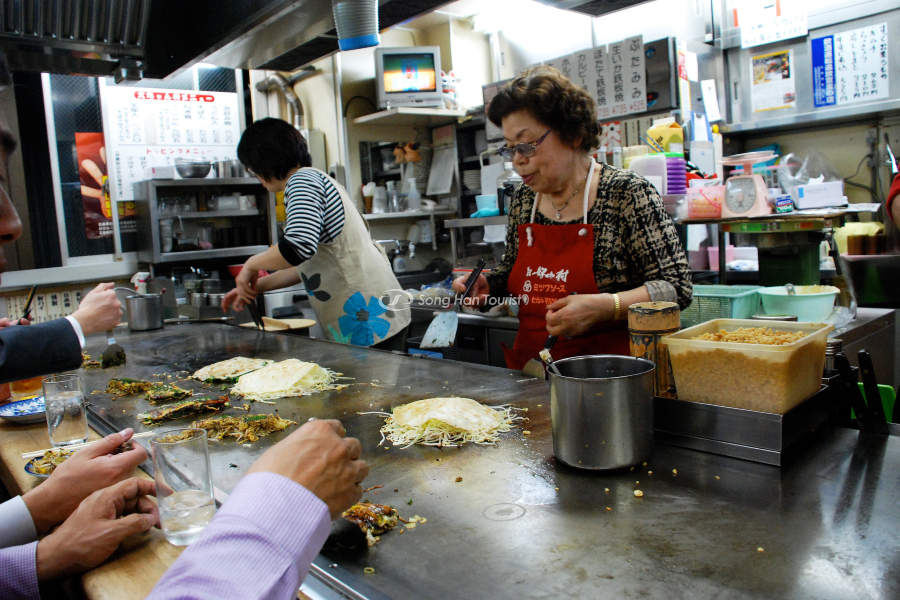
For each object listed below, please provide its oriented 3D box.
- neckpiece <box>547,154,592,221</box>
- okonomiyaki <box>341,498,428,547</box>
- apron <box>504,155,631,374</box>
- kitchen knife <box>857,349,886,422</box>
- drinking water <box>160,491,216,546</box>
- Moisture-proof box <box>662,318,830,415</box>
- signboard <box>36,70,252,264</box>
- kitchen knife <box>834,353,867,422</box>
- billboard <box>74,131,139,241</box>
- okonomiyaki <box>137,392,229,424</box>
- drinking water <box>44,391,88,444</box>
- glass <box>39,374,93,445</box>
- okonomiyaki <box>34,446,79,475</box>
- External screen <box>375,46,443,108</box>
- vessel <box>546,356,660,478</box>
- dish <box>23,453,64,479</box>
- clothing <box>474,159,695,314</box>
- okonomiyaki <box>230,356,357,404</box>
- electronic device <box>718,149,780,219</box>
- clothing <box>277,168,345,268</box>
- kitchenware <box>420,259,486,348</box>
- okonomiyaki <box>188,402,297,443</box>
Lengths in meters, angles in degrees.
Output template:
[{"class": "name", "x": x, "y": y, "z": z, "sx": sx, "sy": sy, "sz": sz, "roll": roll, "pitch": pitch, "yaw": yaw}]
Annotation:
[{"class": "neckpiece", "x": 0.565, "y": -0.504, "z": 2.623, "sx": 0.074, "sy": 0.280, "sz": 0.204, "roll": 15, "pitch": -7, "yaw": -40}, {"class": "okonomiyaki", "x": -0.179, "y": 0.562, "z": 1.472, "sx": 0.116, "sy": 0.025, "sz": 0.117, "roll": 12, "pitch": 17, "yaw": 43}, {"class": "apron", "x": 0.519, "y": -0.116, "z": 2.854, "sx": 0.601, "sy": 1.149, "sz": 0.483, "roll": 6, "pitch": 14, "yaw": 38}, {"class": "kitchen knife", "x": 1.251, "y": 0.265, "z": 1.718, "sx": 0.044, "sy": 0.231, "sz": 0.021, "roll": -13, "pitch": 3, "yaw": 39}, {"class": "drinking water", "x": -0.708, "y": 0.582, "z": 1.577, "sx": 0.159, "sy": 0.133, "sz": 0.149, "roll": -6, "pitch": -6, "yaw": -14}, {"class": "Moisture-proof box", "x": 0.901, "y": 0.187, "z": 1.760, "sx": 0.426, "sy": 0.203, "sz": 0.328, "roll": -10, "pitch": 11, "yaw": -38}, {"class": "signboard", "x": -3.409, "y": -1.381, "z": 6.266, "sx": 2.682, "sy": 2.368, "sz": 0.110, "roll": -7, "pitch": 12, "yaw": -30}, {"class": "kitchen knife", "x": 1.215, "y": 0.269, "z": 1.749, "sx": 0.023, "sy": 0.251, "sz": 0.065, "roll": -33, "pitch": 18, "yaw": -33}, {"class": "billboard", "x": -3.937, "y": -1.272, "z": 6.395, "sx": 0.331, "sy": 1.170, "sz": 0.084, "roll": -10, "pitch": 11, "yaw": -27}, {"class": "okonomiyaki", "x": -1.054, "y": 0.436, "z": 2.301, "sx": 0.192, "sy": 0.039, "sz": 0.126, "roll": -4, "pitch": 10, "yaw": -33}, {"class": "drinking water", "x": -1.366, "y": 0.426, "z": 2.063, "sx": 0.114, "sy": 0.195, "sz": 0.114, "roll": -11, "pitch": 11, "yaw": -34}, {"class": "glass", "x": -1.429, "y": 0.417, "z": 2.112, "sx": 0.158, "sy": 0.241, "sz": 0.152, "roll": -13, "pitch": -5, "yaw": 32}, {"class": "okonomiyaki", "x": -1.323, "y": 0.537, "z": 1.935, "sx": 0.113, "sy": 0.026, "sz": 0.106, "roll": 5, "pitch": 15, "yaw": 11}, {"class": "External screen", "x": -0.269, "y": -2.502, "z": 6.576, "sx": 0.990, "sy": 0.671, "sz": 0.905, "roll": 5, "pitch": 17, "yaw": 13}, {"class": "vessel", "x": 0.431, "y": 0.329, "z": 1.729, "sx": 0.351, "sy": 0.253, "sz": 0.319, "roll": -3, "pitch": 7, "yaw": -17}, {"class": "dish", "x": -1.343, "y": 0.553, "z": 1.908, "sx": 0.114, "sy": 0.045, "sz": 0.115, "roll": -3, "pitch": 8, "yaw": 4}, {"class": "clothing", "x": 0.629, "y": -0.254, "z": 2.797, "sx": 1.077, "sy": 0.702, "sz": 0.499, "roll": 5, "pitch": 16, "yaw": 43}, {"class": "okonomiyaki", "x": -0.701, "y": 0.354, "z": 2.487, "sx": 0.262, "sy": 0.048, "sz": 0.258, "roll": -13, "pitch": 18, "yaw": -43}, {"class": "electronic device", "x": 2.012, "y": -0.782, "z": 3.919, "sx": 0.289, "sy": 0.408, "sz": 0.834, "roll": 0, "pitch": 9, "yaw": 27}, {"class": "clothing", "x": -0.743, "y": -0.458, "z": 3.116, "sx": 0.213, "sy": 0.467, "sz": 0.520, "roll": 16, "pitch": 8, "yaw": 7}, {"class": "kitchenware", "x": 0.015, "y": 0.042, "z": 2.712, "sx": 0.173, "sy": 0.541, "sz": 0.046, "roll": 27, "pitch": -20, "yaw": 6}, {"class": "okonomiyaki", "x": -0.780, "y": 0.453, "z": 2.144, "sx": 0.414, "sy": 0.044, "sz": 0.266, "roll": 5, "pitch": 12, "yaw": 45}]
